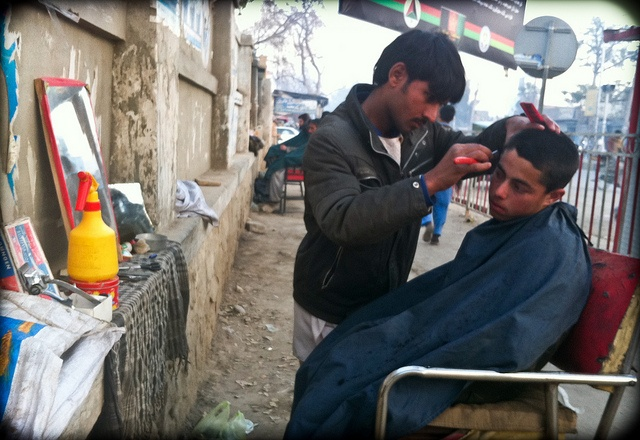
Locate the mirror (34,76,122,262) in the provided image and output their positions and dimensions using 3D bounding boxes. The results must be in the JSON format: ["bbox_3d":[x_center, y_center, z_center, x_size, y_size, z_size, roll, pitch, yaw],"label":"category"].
[{"bbox_3d":[-1.043,-0.243,1.925,0.199,0.689,0.523,-2,15,-13],"label":"mirror"}]

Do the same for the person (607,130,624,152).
[{"bbox_3d":[3.791,-0.969,5.738,0.154,0.185,0.736,10,16,30],"label":"person"}]

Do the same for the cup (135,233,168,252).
[{"bbox_3d":[-0.851,0.111,2.242,0.116,0.044,0.096,1,16,-4],"label":"cup"}]

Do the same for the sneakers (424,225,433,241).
[{"bbox_3d":[1.654,0.173,6.806,0.102,0.275,0.116,16,47,12],"label":"sneakers"}]
